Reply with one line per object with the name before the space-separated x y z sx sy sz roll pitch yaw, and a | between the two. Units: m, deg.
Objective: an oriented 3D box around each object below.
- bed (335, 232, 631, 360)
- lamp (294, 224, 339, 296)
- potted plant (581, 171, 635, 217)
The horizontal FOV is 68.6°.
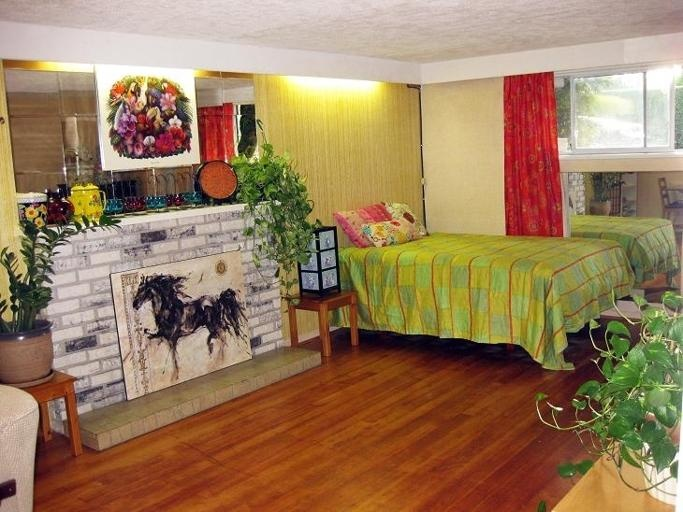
bed | 1.221 0.329 4.878 1.964 0.548 1.392 3 11 33
lamp | -0.188 0.064 4.968 0.369 0.615 0.398 -6 0 -10
potted plant | 3.006 -0.712 5.560 0.199 0.498 0.528 -16 14 -31
